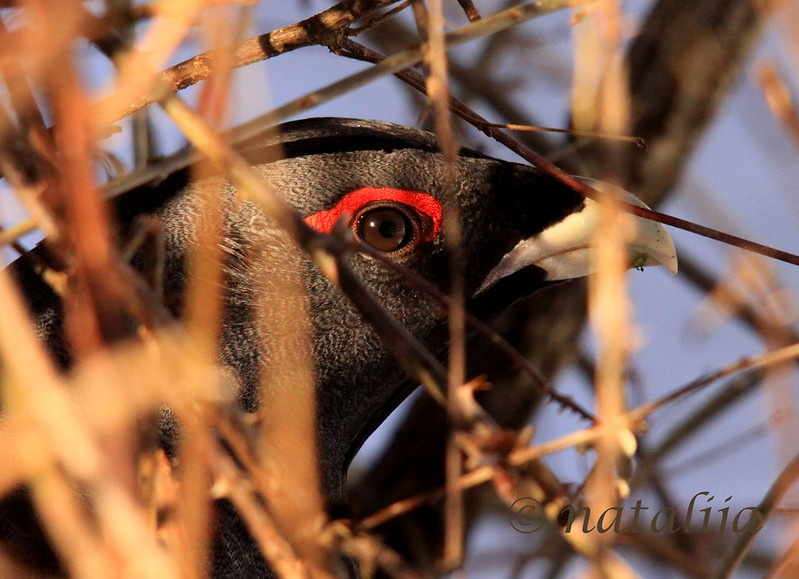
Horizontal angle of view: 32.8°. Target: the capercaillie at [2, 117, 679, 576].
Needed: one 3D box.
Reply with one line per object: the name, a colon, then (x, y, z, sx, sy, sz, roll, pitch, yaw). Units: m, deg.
capercaillie: (-0.120, 0.121, 2.299, 1.119, 0.662, 0.566, 10, -39, -6)
